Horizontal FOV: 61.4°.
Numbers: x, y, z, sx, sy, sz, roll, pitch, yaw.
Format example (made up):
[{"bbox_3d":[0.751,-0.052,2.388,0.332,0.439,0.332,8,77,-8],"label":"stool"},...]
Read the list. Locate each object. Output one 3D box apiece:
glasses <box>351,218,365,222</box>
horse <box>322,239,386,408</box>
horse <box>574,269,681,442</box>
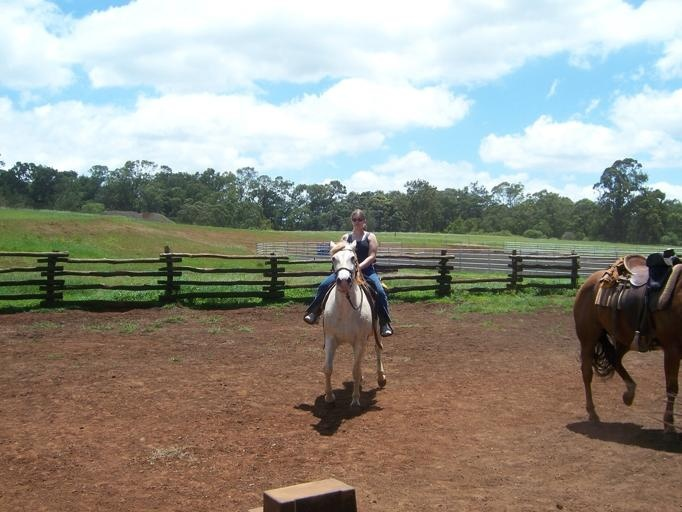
[{"bbox_3d":[0.292,-0.591,9.547,0.201,0.088,0.178,-1,8,-5],"label":"glasses"},{"bbox_3d":[0.232,1.059,9.567,1.001,2.661,2.173,0,8,6],"label":"horse"},{"bbox_3d":[4.099,1.221,8.343,0.861,2.318,1.633,-6,10,-33],"label":"horse"}]
